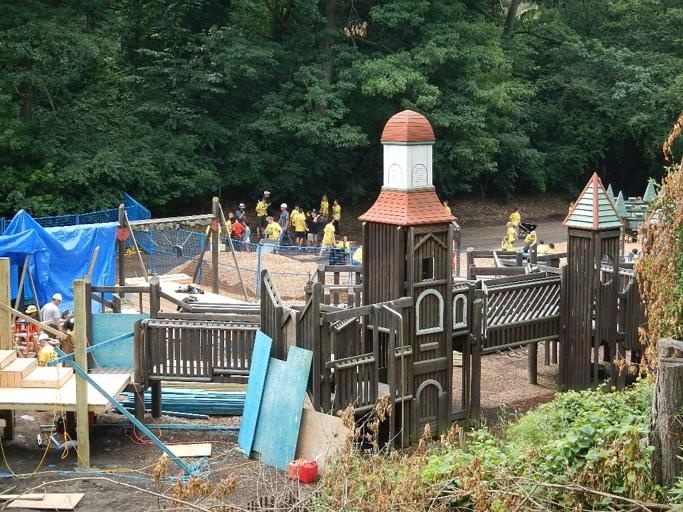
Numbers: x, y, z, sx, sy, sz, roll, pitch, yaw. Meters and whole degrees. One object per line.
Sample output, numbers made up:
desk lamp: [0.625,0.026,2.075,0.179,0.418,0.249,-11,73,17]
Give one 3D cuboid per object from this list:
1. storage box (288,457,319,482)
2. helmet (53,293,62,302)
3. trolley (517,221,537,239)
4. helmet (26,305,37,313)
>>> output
storage box: [-0.927,5.059,29.969,0.750,0.507,0.358,-3,3,-3]
helmet: [-8.155,1.185,36.282,0.252,0.150,0.326,6,-4,-12]
trolley: [7.624,-1.030,52.622,0.518,0.734,0.727,-8,-16,-10]
helmet: [-8.985,1.546,36.583,0.278,0.153,0.383,-2,-3,-26]
